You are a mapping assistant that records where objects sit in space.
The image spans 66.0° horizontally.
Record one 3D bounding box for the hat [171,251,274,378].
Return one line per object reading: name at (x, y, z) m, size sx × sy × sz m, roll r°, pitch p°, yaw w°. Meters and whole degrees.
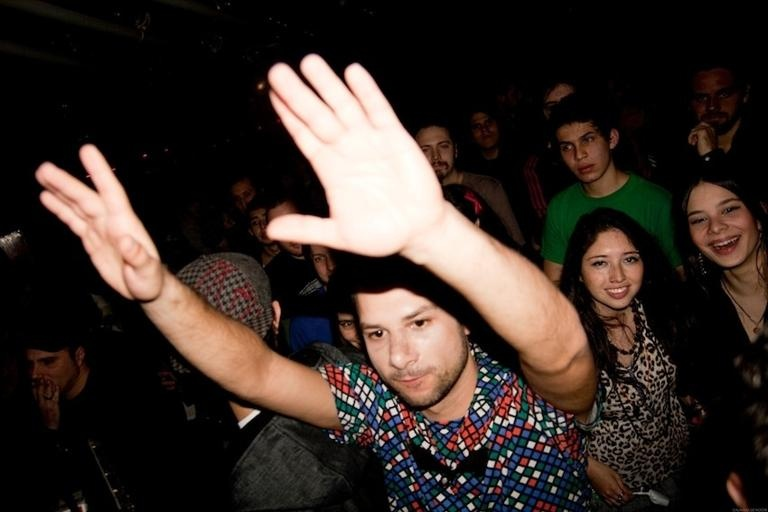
hat at (-1.294, 0.456, 5.437) m, size 0.662 × 0.901 × 0.912 m, roll 19°, pitch 69°, yaw 8°
